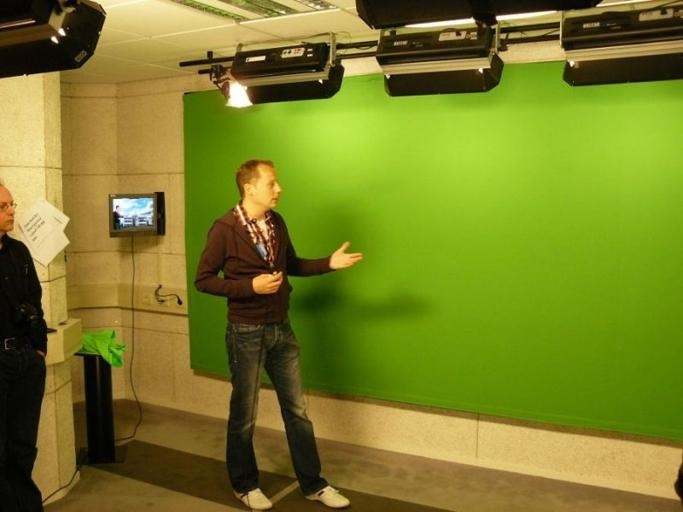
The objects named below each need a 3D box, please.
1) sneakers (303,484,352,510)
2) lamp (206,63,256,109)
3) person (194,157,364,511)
[{"bbox_3d":[-0.094,1.506,3.496,0.228,0.080,0.132,-1,1,31],"label":"sneakers"},{"bbox_3d":[-0.795,-1.230,4.017,0.292,0.107,0.416,10,-13,33],"label":"lamp"},{"bbox_3d":[-0.452,0.490,3.445,0.881,2.177,0.497,-2,7,-14],"label":"person"}]
